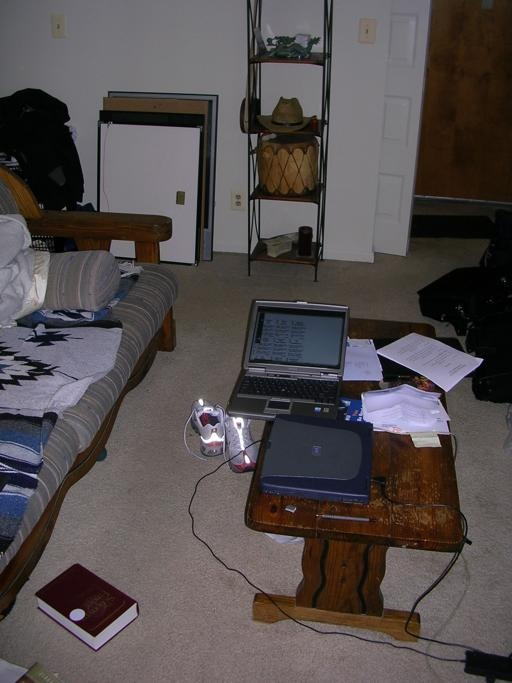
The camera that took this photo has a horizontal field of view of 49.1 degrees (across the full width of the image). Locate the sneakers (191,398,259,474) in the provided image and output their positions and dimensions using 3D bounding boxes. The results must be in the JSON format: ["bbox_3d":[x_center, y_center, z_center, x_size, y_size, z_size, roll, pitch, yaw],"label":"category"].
[{"bbox_3d":[-0.112,0.308,1.860,0.127,0.143,0.360,-25,34,-17],"label":"sneakers"}]

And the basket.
[{"bbox_3d":[0.179,-0.947,3.051,0.329,0.285,0.334,-1,32,0],"label":"basket"}]

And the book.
[{"bbox_3d":[-0.392,0.608,1.300,0.197,0.046,0.136,17,29,31],"label":"book"}]

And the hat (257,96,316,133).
[{"bbox_3d":[0.168,-1.222,3.088,0.224,0.102,0.266,2,43,3],"label":"hat"}]

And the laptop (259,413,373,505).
[{"bbox_3d":[0.126,0.239,1.150,0.214,0.052,0.244,3,22,12],"label":"laptop"}]

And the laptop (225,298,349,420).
[{"bbox_3d":[0.089,0.060,1.446,0.285,0.209,0.315,5,42,11],"label":"laptop"}]

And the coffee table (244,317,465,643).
[{"bbox_3d":[0.210,0.390,1.329,0.428,0.405,0.807,2,42,8],"label":"coffee table"}]
